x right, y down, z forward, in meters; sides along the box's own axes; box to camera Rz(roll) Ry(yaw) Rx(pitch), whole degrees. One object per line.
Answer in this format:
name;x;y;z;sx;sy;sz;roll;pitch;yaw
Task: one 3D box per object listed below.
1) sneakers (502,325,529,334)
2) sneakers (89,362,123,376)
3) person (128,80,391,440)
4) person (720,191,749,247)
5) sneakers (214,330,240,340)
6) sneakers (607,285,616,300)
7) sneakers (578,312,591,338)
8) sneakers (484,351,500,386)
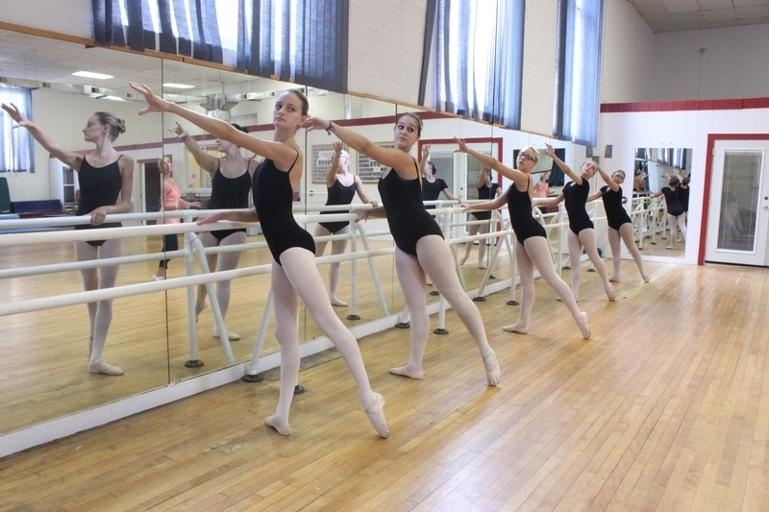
sneakers;1.324;0.734;5.388;0.243;0.104;0.084;8;8;38
sneakers;-1.829;0.742;3.501;0.190;0.079;0.063;-2;6;-24
person;-0.634;0.042;3.459;1.336;2.154;0.667;0;12;-2
person;6.215;-0.564;9.459;0.383;0.885;0.094;8;14;31
sneakers;-1.211;0.605;4.104;0.172;0.105;0.059;-1;-1;-10
sneakers;2.921;0.472;6.850;0.066;0.175;0.075;-11;-11;-33
sneakers;2.006;0.696;5.338;0.092;0.246;0.106;-6;-6;-26
sneakers;0.853;0.921;4.219;0.131;0.081;0.357;-1;8;10
